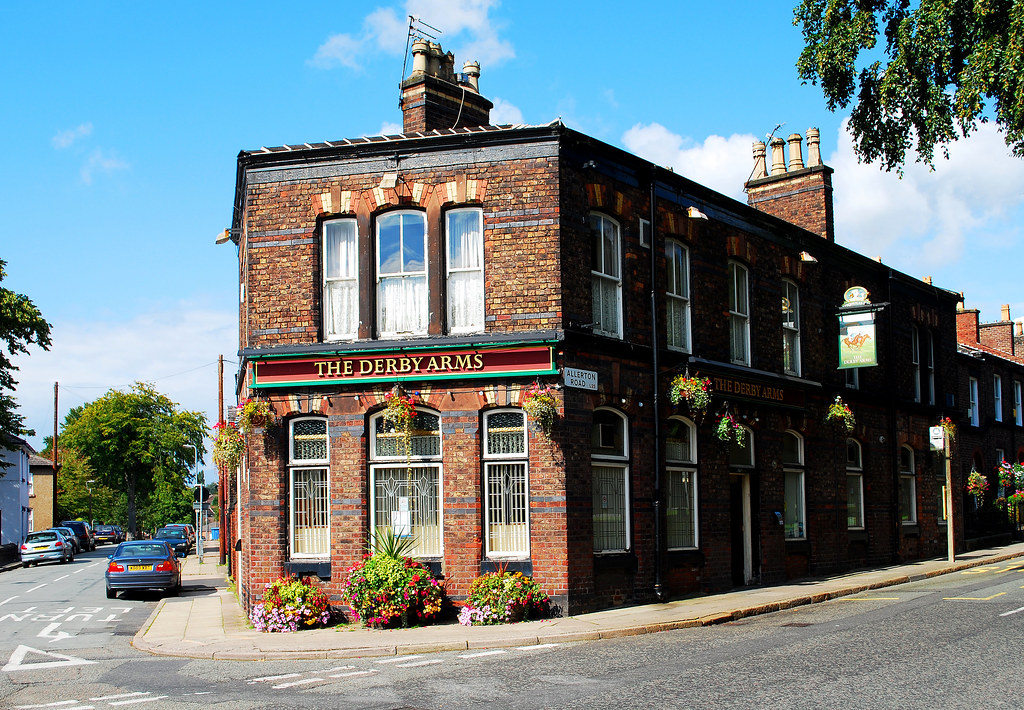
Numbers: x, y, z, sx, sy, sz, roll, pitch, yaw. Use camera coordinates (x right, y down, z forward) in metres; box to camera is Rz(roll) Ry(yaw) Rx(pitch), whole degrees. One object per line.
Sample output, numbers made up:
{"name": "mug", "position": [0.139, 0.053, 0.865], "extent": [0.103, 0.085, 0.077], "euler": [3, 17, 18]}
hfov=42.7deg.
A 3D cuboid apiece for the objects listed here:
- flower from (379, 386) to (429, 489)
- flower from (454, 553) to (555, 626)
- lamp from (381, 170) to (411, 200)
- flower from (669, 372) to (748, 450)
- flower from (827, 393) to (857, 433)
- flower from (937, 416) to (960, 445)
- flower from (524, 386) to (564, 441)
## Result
{"name": "flower", "position": [-2.698, 2.006, 31.837], "extent": [0.854, 2.559, 0.742], "euler": [0, -6, -6]}
{"name": "flower", "position": [-0.163, 5.500, 30.796], "extent": [1.489, 1.048, 1.439], "euler": [-4, -20, 3]}
{"name": "lamp", "position": [-2.844, -4.184, 32.436], "extent": [0.826, 0.858, 0.627], "euler": [2, -7, 11]}
{"name": "flower", "position": [5.258, 1.479, 35.077], "extent": [1.020, 1.866, 3.479], "euler": [-5, -8, 32]}
{"name": "flower", "position": [10.069, 1.777, 39.925], "extent": [0.736, 1.101, 1.829], "euler": [-4, -8, 29]}
{"name": "flower", "position": [14.373, 2.670, 43.686], "extent": [0.579, 1.079, 0.936], "euler": [11, 7, 40]}
{"name": "flower", "position": [0.738, 1.371, 31.660], "extent": [0.886, 1.166, 0.592], "euler": [0, 17, 1]}
